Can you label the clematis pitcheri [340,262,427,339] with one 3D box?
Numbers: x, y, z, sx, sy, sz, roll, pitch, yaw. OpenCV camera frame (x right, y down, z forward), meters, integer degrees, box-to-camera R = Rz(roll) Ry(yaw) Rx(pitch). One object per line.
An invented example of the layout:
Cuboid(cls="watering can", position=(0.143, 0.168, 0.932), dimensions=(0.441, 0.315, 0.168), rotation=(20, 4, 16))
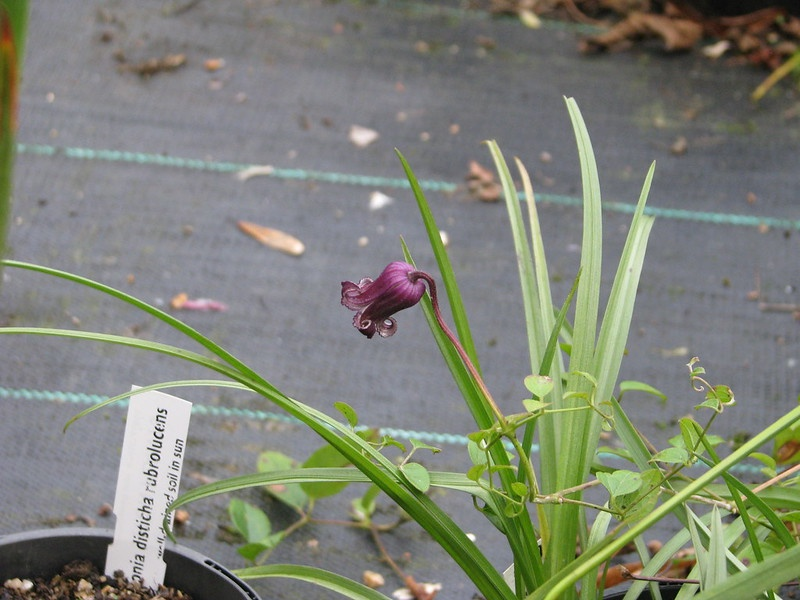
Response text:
Cuboid(cls="clematis pitcheri", position=(-0.028, 0.010, 1.643), dimensions=(0.157, 0.100, 0.120), rotation=(-17, 30, 21))
